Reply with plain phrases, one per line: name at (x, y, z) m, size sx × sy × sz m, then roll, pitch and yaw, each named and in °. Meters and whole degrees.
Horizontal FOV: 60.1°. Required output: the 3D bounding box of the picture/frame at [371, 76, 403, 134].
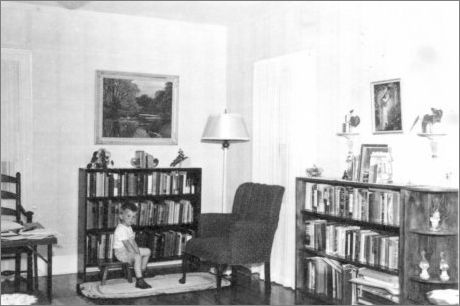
picture/frame at (1.819, -0.535, 4.583) m, size 0.057 × 0.582 × 0.355 m, roll 0°, pitch 2°, yaw -33°

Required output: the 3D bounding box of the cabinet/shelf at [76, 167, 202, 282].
cabinet/shelf at (-1.421, 1.069, 5.897) m, size 1.651 × 1.417 × 0.425 m, roll 1°, pitch -3°, yaw -34°

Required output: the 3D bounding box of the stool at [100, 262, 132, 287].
stool at (-1.618, 1.615, 5.546) m, size 0.397 × 0.229 × 0.389 m, roll 2°, pitch -6°, yaw -21°
